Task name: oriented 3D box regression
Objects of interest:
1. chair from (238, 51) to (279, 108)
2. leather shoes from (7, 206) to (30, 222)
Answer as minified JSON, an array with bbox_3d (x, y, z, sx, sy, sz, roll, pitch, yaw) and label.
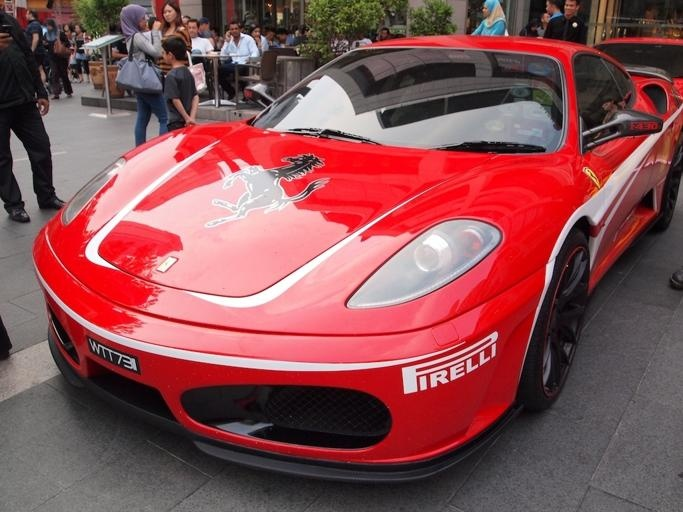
[{"bbox_3d":[-1.795,-3.793,10.031,0.922,1.092,0.866,-23,34,-39],"label":"chair"},{"bbox_3d":[-3.222,-0.423,4.773,0.310,0.115,0.112,11,25,28],"label":"leather shoes"}]
